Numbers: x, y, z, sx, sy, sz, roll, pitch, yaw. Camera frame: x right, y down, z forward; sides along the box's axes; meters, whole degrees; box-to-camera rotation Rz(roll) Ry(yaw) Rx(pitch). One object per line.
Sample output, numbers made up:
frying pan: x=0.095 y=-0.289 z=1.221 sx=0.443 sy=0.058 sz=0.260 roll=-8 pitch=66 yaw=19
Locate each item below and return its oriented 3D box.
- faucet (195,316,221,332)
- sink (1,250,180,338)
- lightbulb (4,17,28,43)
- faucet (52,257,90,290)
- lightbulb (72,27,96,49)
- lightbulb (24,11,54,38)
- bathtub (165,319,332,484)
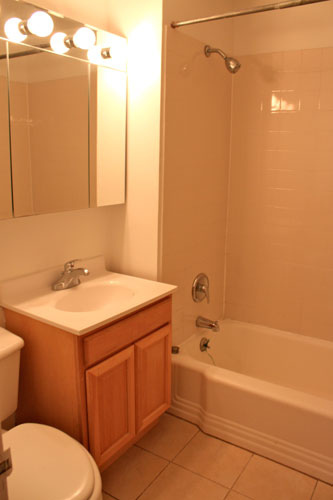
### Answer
faucet: x=0.244 y=0.450 z=2.357 sx=0.170 sy=0.098 sz=0.068 roll=17 pitch=21 yaw=33
sink: x=-0.333 y=0.183 z=1.703 sx=0.515 sy=0.235 sz=0.659 roll=7 pitch=9 yaw=35
lightbulb: x=-0.545 y=-0.783 z=1.356 sx=0.068 sy=0.088 sz=0.068 roll=-23 pitch=10 yaw=-39
faucet: x=-0.461 y=0.103 z=1.772 sx=0.190 sy=0.135 sz=0.103 roll=-5 pitch=-3 yaw=39
lightbulb: x=-0.346 y=-0.892 z=1.600 sx=0.076 sy=0.092 sz=0.089 roll=19 pitch=30 yaw=34
lightbulb: x=-0.473 y=-0.852 z=1.446 sx=0.049 sy=0.095 sz=0.152 roll=3 pitch=8 yaw=17
bathtub: x=0.529 y=0.731 z=2.161 sx=0.861 sy=0.389 sz=0.758 roll=6 pitch=9 yaw=32
